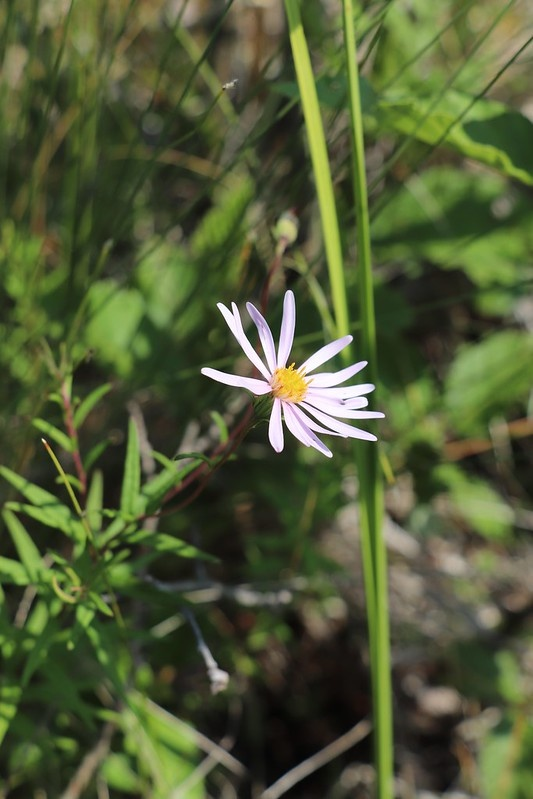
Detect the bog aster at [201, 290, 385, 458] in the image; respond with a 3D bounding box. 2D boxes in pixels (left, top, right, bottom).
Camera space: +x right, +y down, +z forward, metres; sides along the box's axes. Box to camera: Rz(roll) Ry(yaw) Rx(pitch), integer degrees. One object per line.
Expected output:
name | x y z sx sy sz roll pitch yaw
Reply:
bog aster | 0.025 -0.013 0.910 0.217 0.208 0.064 20 86 53
